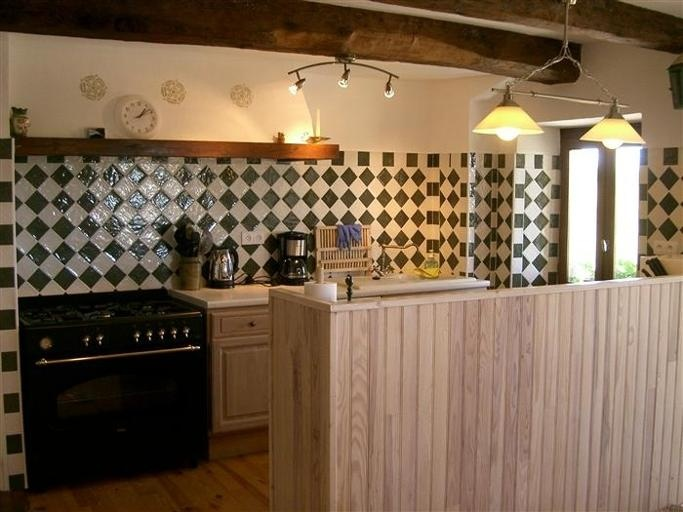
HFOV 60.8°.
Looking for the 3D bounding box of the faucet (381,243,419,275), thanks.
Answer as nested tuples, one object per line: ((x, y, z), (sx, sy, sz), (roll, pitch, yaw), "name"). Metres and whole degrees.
((0.577, 0.022, 5.608), (0.452, 0.275, 0.197), (-3, 2, -36), "faucet")

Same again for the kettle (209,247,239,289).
((-0.869, 0.096, 4.728), (0.316, 0.331, 0.222), (1, 0, -38), "kettle")

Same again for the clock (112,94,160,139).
((-1.598, -1.059, 4.468), (0.343, 0.360, 0.102), (-4, -1, -33), "clock")

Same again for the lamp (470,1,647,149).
((1.666, -1.397, 4.387), (1.064, 0.974, 0.381), (2, 3, -24), "lamp")

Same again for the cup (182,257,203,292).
((-1.195, 0.150, 4.624), (0.216, 0.314, 0.219), (1, 5, 0), "cup")

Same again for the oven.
((-1.667, 0.821, 4.189), (1.226, 1.074, 0.817), (0, -3, -31), "oven")
